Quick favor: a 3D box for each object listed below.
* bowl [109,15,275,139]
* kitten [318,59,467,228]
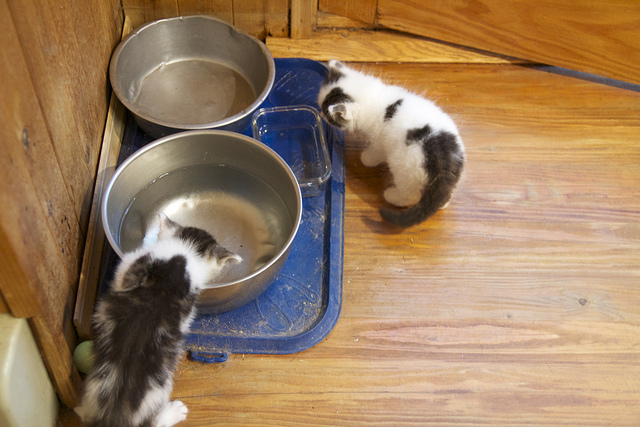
[{"bbox_3d":[-0.612,-0.648,3.137,0.771,0.389,0.691,10,71,-3],"label":"bowl"},{"bbox_3d":[0.219,-0.363,3.195,0.392,0.499,1.023,-44,65,-2],"label":"kitten"}]
